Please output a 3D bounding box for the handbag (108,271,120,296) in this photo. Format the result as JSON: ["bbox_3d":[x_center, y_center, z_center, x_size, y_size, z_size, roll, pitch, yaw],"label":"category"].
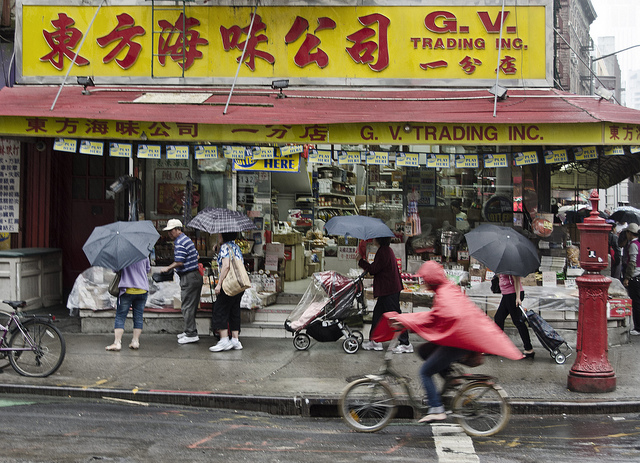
[{"bbox_3d":[-4.061,1.031,17.524,0.206,0.429,0.197,-2,0,-13],"label":"handbag"}]

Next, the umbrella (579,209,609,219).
[{"bbox_3d":[7.050,-0.454,22.959,0.667,0.209,0.462,0,0,12],"label":"umbrella"}]

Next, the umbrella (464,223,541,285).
[{"bbox_3d":[3.469,0.296,16.886,1.042,1.047,0.680,12,-46,-19],"label":"umbrella"}]

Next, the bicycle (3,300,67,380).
[{"bbox_3d":[-5.239,1.966,16.236,1.143,1.241,0.779,-2,0,-6],"label":"bicycle"}]

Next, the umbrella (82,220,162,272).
[{"bbox_3d":[-3.888,0.276,17.341,1.397,0.865,0.670,-2,0,-15],"label":"umbrella"}]
